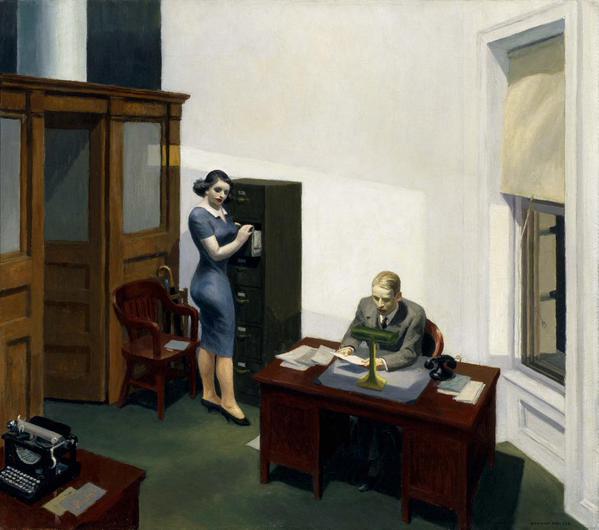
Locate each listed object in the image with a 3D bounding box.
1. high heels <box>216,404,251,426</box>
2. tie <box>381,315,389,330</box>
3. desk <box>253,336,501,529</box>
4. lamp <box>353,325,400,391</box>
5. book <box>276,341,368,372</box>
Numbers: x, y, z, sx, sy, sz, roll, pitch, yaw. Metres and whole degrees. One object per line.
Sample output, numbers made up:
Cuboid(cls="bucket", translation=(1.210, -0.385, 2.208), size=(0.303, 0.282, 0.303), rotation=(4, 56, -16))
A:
Cuboid(cls="high heels", translation=(-0.473, 1.066, 4.602), size=(0.256, 0.088, 0.095), rotation=(16, 7, 26))
Cuboid(cls="tie", translation=(0.509, 0.339, 3.828), size=(0.050, 0.083, 0.017), rotation=(3, 2, 16))
Cuboid(cls="desk", translation=(0.433, 0.991, 3.798), size=(1.312, 0.775, 0.691), rotation=(7, 10, 25))
Cuboid(cls="lamp", translation=(0.440, 0.535, 3.654), size=(0.262, 0.398, 0.126), rotation=(3, 7, 30))
Cuboid(cls="book", translation=(0.106, 0.577, 3.943), size=(0.320, 0.069, 0.222), rotation=(9, 8, 18))
